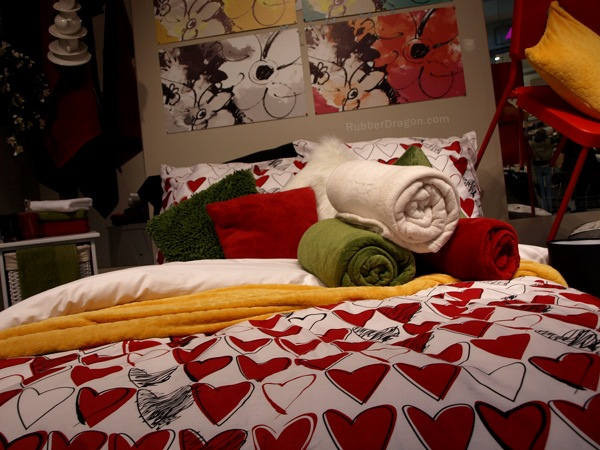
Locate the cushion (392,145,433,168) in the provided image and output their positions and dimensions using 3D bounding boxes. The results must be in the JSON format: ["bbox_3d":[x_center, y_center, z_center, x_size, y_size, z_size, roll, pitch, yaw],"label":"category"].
[{"bbox_3d":[0.468,-0.285,1.630,0.037,0.110,0.122,25,10,-43],"label":"cushion"}]

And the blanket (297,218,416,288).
[{"bbox_3d":[0.186,0.099,1.554,0.287,0.268,0.581,-3,7,-13],"label":"blanket"}]

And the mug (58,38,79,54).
[{"bbox_3d":[-1.462,-1.136,2.516,0.105,0.077,0.112,6,19,21],"label":"mug"}]

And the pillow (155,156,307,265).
[{"bbox_3d":[-0.459,-0.051,2.359,0.866,0.652,0.587,-2,6,-17],"label":"pillow"}]

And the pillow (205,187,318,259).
[{"bbox_3d":[-0.164,0.008,1.761,0.513,0.317,0.415,-7,6,-4],"label":"pillow"}]

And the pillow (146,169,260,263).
[{"bbox_3d":[-0.487,-0.064,1.963,0.367,0.439,0.464,3,2,-11],"label":"pillow"}]
